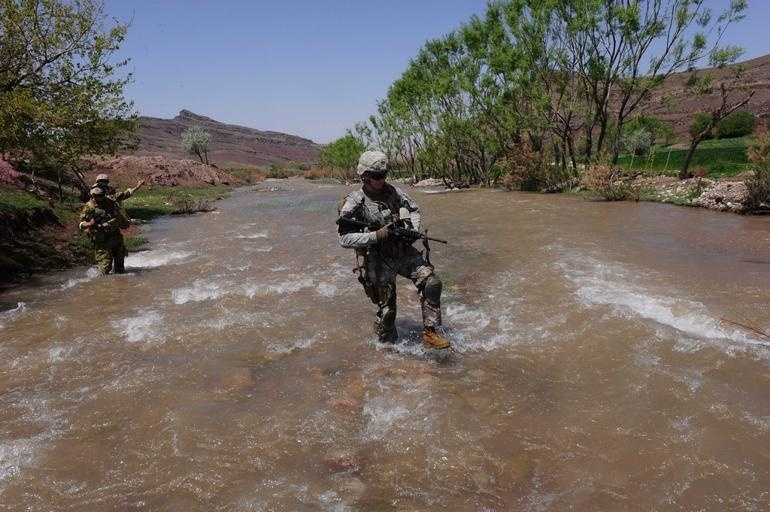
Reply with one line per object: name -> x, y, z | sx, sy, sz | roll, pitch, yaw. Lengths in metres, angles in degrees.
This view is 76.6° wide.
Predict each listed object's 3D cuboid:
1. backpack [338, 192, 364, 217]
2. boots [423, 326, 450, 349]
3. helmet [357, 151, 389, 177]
backpack -> -0.546, -0.818, 7.670 | 0.323, 0.385, 0.443 | 13, 0, 26
boots -> 0.854, 1.272, 7.524 | 0.477, 0.421, 0.231 | -3, 2, 19
helmet -> -0.240, -1.373, 7.456 | 0.487, 0.376, 0.508 | -7, 5, -42
